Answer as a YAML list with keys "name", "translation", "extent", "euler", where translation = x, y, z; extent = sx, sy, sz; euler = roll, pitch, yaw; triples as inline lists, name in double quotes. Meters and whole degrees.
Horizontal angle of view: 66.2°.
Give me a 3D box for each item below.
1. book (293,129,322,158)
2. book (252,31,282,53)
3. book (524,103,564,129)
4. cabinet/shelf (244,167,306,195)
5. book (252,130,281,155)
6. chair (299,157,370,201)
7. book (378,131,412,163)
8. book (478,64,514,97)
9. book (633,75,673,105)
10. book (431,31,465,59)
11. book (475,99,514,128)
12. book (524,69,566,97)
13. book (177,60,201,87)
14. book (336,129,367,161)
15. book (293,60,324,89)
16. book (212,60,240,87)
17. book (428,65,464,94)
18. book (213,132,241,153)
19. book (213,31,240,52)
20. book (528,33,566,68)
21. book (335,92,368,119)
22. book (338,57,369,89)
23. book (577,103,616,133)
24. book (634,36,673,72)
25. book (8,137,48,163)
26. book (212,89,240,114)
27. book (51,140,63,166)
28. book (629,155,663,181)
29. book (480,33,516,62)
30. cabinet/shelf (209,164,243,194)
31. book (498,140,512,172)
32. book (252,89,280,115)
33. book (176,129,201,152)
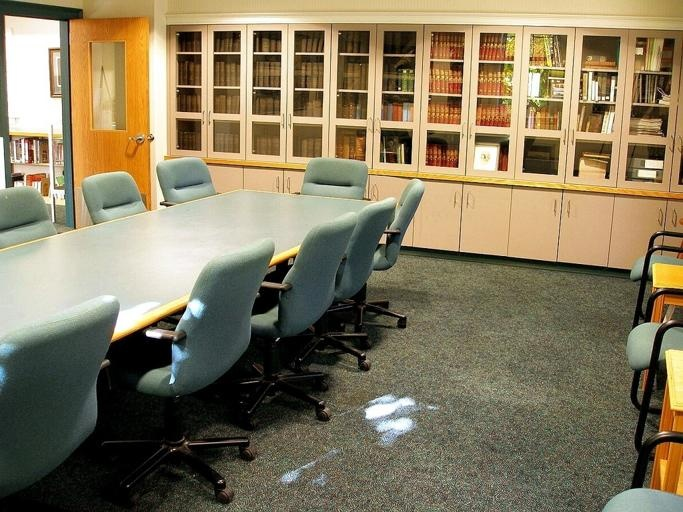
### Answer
- name: "book"
  translation: [-0.411, -1.338, 6.084]
  extent: [0.309, 0.358, 0.081]
  euler: [3, 7, 14]
- name: "book"
  translation: [-0.852, -2.447, 6.043]
  extent: [0.323, 0.318, 0.239]
  euler: [4, 18, 6]
- name: "book"
  translation: [2.132, -1.392, 5.557]
  extent: [0.258, 0.377, 0.378]
  euler: [1, 7, 6]
- name: "cabinet/shelf"
  translation: [-0.752, -0.868, 6.060]
  extent: [0.448, 0.414, 0.177]
  euler: [3, 9, 17]
- name: "book"
  translation: [-0.899, -1.331, 6.245]
  extent: [0.245, 0.351, 0.354]
  euler: [2, 4, 3]
- name: "chair"
  translation: [-0.055, -0.678, 5.021]
  extent: [0.438, 0.607, 0.499]
  euler: [6, 11, 10]
- name: "book"
  translation: [0.591, -1.190, 6.012]
  extent: [0.421, 0.431, 0.322]
  euler: [-1, 5, -8]
- name: "book"
  translation: [1.630, -1.865, 5.551]
  extent: [0.347, 0.307, 0.038]
  euler: [5, 15, 19]
- name: "book"
  translation: [3.097, -1.586, 5.230]
  extent: [0.270, 0.374, 0.377]
  euler: [5, 10, 31]
- name: "book"
  translation: [1.127, -2.241, 5.607]
  extent: [0.352, 0.282, 0.042]
  euler: [2, 14, 8]
- name: "book"
  translation: [1.628, -1.511, 5.615]
  extent: [0.350, 0.262, 0.082]
  euler: [7, 16, 27]
- name: "book"
  translation: [2.124, -1.785, 5.445]
  extent: [0.351, 0.268, 0.048]
  euler: [5, 15, 19]
- name: "book"
  translation: [-1.841, -2.206, 6.308]
  extent: [0.150, 0.274, 0.279]
  euler: [3, 8, 15]
- name: "book"
  translation: [0.143, -1.246, 6.234]
  extent: [0.325, 0.462, 0.472]
  euler: [4, 6, 17]
- name: "book"
  translation: [-0.364, -2.052, 6.007]
  extent: [0.264, 0.379, 0.383]
  euler: [4, 7, 15]
- name: "book"
  translation: [-1.354, -2.125, 6.223]
  extent: [0.252, 0.333, 0.359]
  euler: [2, 6, 9]
- name: "book"
  translation: [1.125, -1.905, 5.669]
  extent: [0.345, 0.313, 0.086]
  euler: [5, 15, 18]
- name: "book"
  translation: [-1.396, -1.360, 6.348]
  extent: [0.314, 0.305, 0.231]
  euler: [2, 5, -1]
- name: "book"
  translation: [-1.345, -2.511, 6.132]
  extent: [0.218, 0.225, 0.123]
  euler: [2, 5, 14]
- name: "book"
  translation: [2.129, -2.118, 5.387]
  extent: [0.305, 0.307, 0.167]
  euler: [4, 6, 19]
- name: "book"
  translation: [0.116, -1.695, 5.936]
  extent: [0.267, 0.371, 0.376]
  euler: [3, 8, 16]
- name: "book"
  translation: [0.138, -2.009, 5.924]
  extent: [0.289, 0.422, 0.420]
  euler: [2, 9, 10]
- name: "book"
  translation: [2.630, -1.411, 5.406]
  extent: [0.349, 0.286, 0.055]
  euler: [3, 14, 10]
- name: "book"
  translation: [3.115, -1.999, 5.211]
  extent: [0.344, 0.321, 0.054]
  euler: [2, 14, 9]
- name: "book"
  translation: [-5.250, -1.832, 9.073]
  extent: [0.737, 0.423, 0.529]
  euler: [2, 13, 6]
- name: "book"
  translation: [-1.359, -1.806, 6.328]
  extent: [0.345, 0.353, 0.263]
  euler: [2, 8, 10]
- name: "book"
  translation: [-4.751, -1.708, 8.757]
  extent: [0.134, 0.424, 0.145]
  euler: [-6, 15, -23]
- name: "book"
  translation: [3.120, -0.876, 5.373]
  extent: [0.301, 0.235, 0.218]
  euler: [0, 0, 13]
- name: "book"
  translation: [1.678, -2.132, 5.624]
  extent: [0.371, 0.373, 0.273]
  euler: [3, 7, 21]
- name: "cabinet/shelf"
  translation: [-1.353, -0.908, 6.134]
  extent: [0.471, 0.352, 0.268]
  euler: [5, 13, 10]
- name: "book"
  translation: [1.749, -1.074, 5.644]
  extent: [0.112, 0.323, 0.054]
  euler: [4, 15, 17]
- name: "book"
  translation: [-0.877, -1.765, 6.277]
  extent: [0.365, 0.370, 0.265]
  euler: [3, 11, 1]
- name: "book"
  translation: [-1.894, -1.371, 6.556]
  extent: [0.239, 0.334, 0.337]
  euler: [4, 7, 10]
